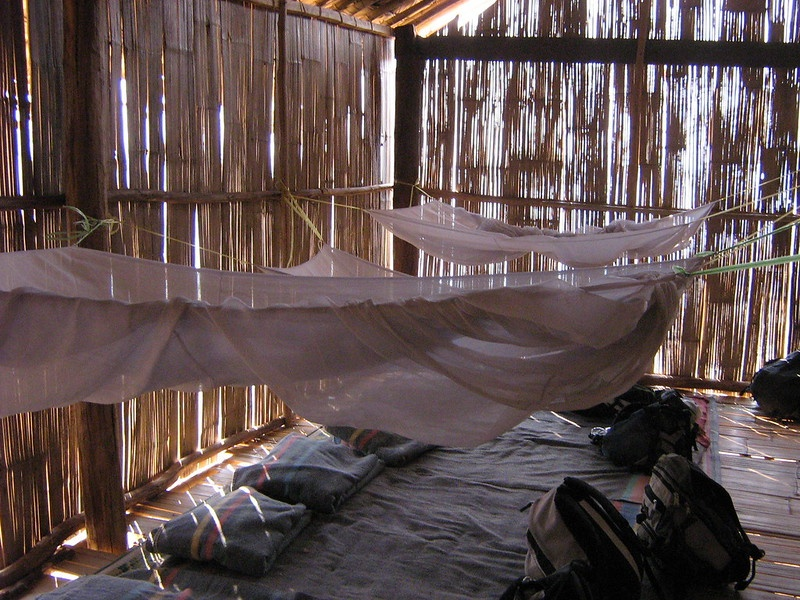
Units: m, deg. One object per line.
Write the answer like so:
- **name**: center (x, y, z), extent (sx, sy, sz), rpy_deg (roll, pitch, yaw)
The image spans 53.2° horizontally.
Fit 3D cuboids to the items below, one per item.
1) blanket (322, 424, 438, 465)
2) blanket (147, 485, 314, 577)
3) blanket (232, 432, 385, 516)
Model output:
- **blanket**: center (-0.121, 0.848, 4.709), extent (0.345, 0.115, 0.353), rpy_deg (6, 8, 24)
- **blanket**: center (-0.763, 1.086, 3.822), extent (0.398, 0.126, 0.408), rpy_deg (8, 13, 31)
- **blanket**: center (-0.463, 0.923, 4.311), extent (0.426, 0.135, 0.433), rpy_deg (14, 16, 42)
